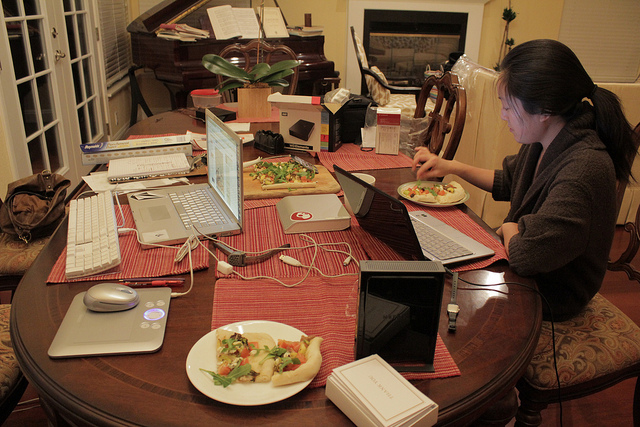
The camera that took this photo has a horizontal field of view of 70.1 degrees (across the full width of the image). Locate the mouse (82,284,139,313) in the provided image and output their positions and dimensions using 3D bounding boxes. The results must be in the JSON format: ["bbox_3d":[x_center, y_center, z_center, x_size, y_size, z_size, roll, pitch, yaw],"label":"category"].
[{"bbox_3d":[-0.627,0.246,1.356,0.123,0.042,0.089,-4,27,-21],"label":"mouse"}]

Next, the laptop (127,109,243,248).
[{"bbox_3d":[-0.542,-0.168,1.761,0.418,0.357,0.551,-4,24,-18],"label":"laptop"}]

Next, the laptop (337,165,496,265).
[{"bbox_3d":[0.341,-0.027,1.650,0.572,0.288,0.588,5,24,21],"label":"laptop"}]

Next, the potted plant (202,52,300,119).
[{"bbox_3d":[-0.404,-0.795,2.850,0.355,0.366,0.534,-8,20,-32],"label":"potted plant"}]

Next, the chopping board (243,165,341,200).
[{"bbox_3d":[-0.133,-0.140,2.063,0.435,0.055,0.305,-2,26,-3],"label":"chopping board"}]

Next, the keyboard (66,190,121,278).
[{"bbox_3d":[-0.853,0.071,1.710,0.178,0.069,0.531,-6,30,-23],"label":"keyboard"}]

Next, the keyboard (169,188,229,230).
[{"bbox_3d":[-0.484,-0.015,1.817,0.134,0.020,0.279,-10,30,-15],"label":"keyboard"}]

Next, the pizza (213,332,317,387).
[{"bbox_3d":[-0.140,0.393,1.212,0.178,0.056,0.141,4,26,-1],"label":"pizza"}]
